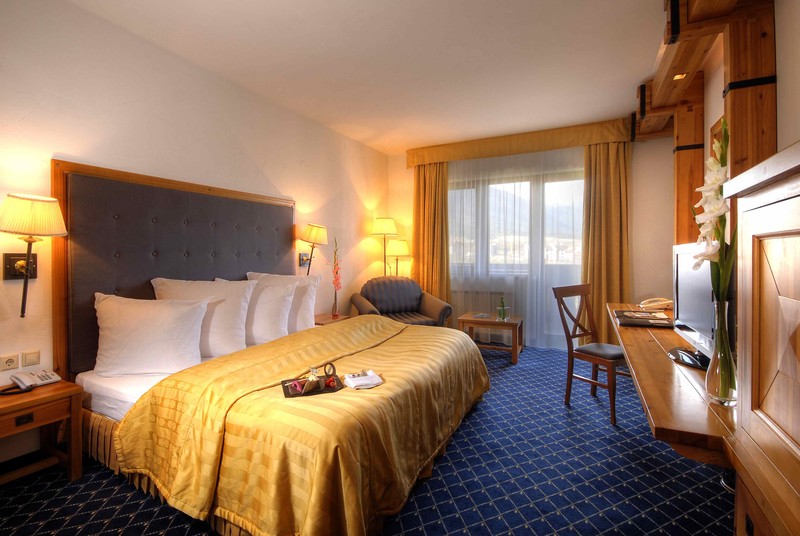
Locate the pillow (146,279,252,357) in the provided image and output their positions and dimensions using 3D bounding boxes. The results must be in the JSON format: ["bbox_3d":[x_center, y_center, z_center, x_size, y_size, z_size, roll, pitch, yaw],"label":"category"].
[{"bbox_3d":[-1.638,0.413,4.134,0.175,0.486,0.525,-28,-25,33],"label":"pillow"}]

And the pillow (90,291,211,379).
[{"bbox_3d":[-1.923,0.523,3.903,0.554,0.520,0.210,4,-17,-23],"label":"pillow"}]

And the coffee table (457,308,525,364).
[{"bbox_3d":[1.109,0.841,6.159,0.702,0.492,0.529,1,2,24],"label":"coffee table"}]

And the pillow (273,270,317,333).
[{"bbox_3d":[-0.987,0.328,4.830,0.507,0.510,0.257,-2,10,17],"label":"pillow"}]

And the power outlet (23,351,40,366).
[{"bbox_3d":[-2.744,0.669,3.821,0.014,0.117,0.113,7,6,38],"label":"power outlet"}]

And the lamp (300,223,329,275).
[{"bbox_3d":[-0.945,-0.226,5.676,0.278,0.560,0.473,-4,-1,-11],"label":"lamp"}]

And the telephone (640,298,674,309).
[{"bbox_3d":[2.382,0.338,4.762,0.255,0.101,0.295,-5,-1,23],"label":"telephone"}]

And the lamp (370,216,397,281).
[{"bbox_3d":[-0.193,-0.153,7.077,0.345,1.114,0.307,-2,20,-6],"label":"lamp"}]

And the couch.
[{"bbox_3d":[0.018,0.368,6.278,0.897,0.943,0.705,5,-11,-34],"label":"couch"}]

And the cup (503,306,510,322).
[{"bbox_3d":[1.266,0.533,6.061,0.069,0.160,0.395,-4,-1,13],"label":"cup"}]

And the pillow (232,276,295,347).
[{"bbox_3d":[-1.204,0.400,4.522,0.487,0.551,0.205,10,-24,-42],"label":"pillow"}]

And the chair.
[{"bbox_3d":[2.006,0.738,5.397,0.588,1.267,2.278,-5,-1,20],"label":"chair"}]

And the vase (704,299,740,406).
[{"bbox_3d":[1.808,0.471,2.908,0.148,0.585,0.144,-4,0,45],"label":"vase"}]
